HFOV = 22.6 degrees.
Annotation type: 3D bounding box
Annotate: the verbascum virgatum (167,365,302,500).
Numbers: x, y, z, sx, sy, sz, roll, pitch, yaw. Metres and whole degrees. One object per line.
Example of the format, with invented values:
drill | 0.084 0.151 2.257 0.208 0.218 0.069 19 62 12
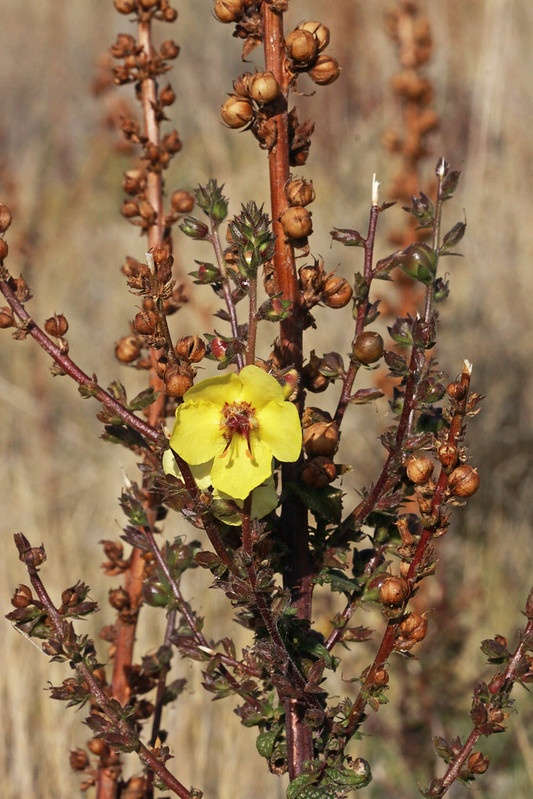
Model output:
verbascum virgatum | -0.084 0.083 2.880 0.277 0.291 0.105 37 5 -18
